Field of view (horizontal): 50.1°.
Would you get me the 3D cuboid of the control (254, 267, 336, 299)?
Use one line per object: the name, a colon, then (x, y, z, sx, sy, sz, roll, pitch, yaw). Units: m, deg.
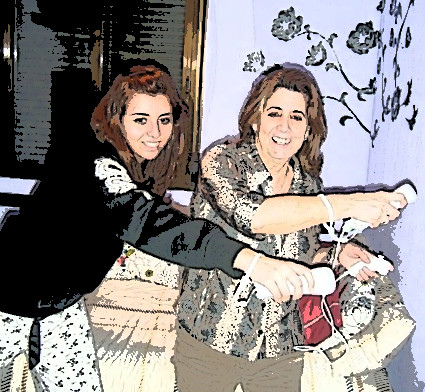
control: (0.212, 0.196, 1.167, 0.207, 0.090, 0.083, -9, -3, -5)

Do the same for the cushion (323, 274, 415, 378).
cushion: (0.500, 0.436, 1.413, 0.233, 0.323, 0.092, 40, 4, 39)

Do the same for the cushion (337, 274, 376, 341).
cushion: (0.444, 0.342, 1.409, 0.114, 0.191, 0.066, 7, 9, -1)

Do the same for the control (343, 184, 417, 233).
control: (0.524, 0.044, 1.397, 0.057, 0.211, 0.070, 43, 15, -38)

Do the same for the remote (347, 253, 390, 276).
remote: (0.458, 0.203, 1.336, 0.112, 0.065, 0.029, -14, 4, 45)

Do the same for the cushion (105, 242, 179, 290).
cushion: (-0.307, 0.308, 1.826, 0.253, 0.066, 0.278, 18, 20, 1)
